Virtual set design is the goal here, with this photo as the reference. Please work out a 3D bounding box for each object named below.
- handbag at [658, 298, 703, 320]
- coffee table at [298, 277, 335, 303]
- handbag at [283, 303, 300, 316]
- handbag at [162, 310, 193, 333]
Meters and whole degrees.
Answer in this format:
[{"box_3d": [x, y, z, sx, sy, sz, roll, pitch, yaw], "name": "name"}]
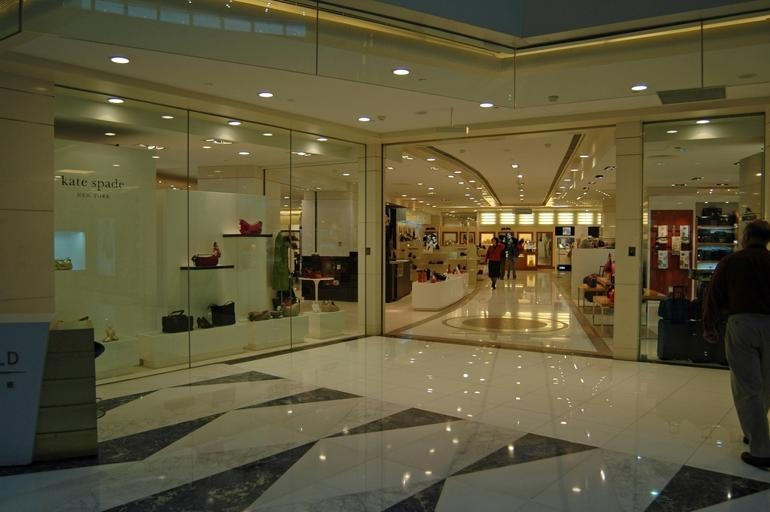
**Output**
[{"box_3d": [4.620, 0.848, 8.409, 0.523, 0.330, 0.362, 1, 6, 15], "name": "handbag"}, {"box_3d": [-1.277, 0.584, 10.048, 0.534, 0.513, 0.480, 0, 5, -10], "name": "coffee table"}, {"box_3d": [-1.687, 0.979, 9.737, 0.189, 0.250, 0.359, -2, 0, 31], "name": "handbag"}, {"box_3d": [-3.255, 1.037, 8.345, 0.302, 0.352, 0.531, -5, -4, 34], "name": "handbag"}]
